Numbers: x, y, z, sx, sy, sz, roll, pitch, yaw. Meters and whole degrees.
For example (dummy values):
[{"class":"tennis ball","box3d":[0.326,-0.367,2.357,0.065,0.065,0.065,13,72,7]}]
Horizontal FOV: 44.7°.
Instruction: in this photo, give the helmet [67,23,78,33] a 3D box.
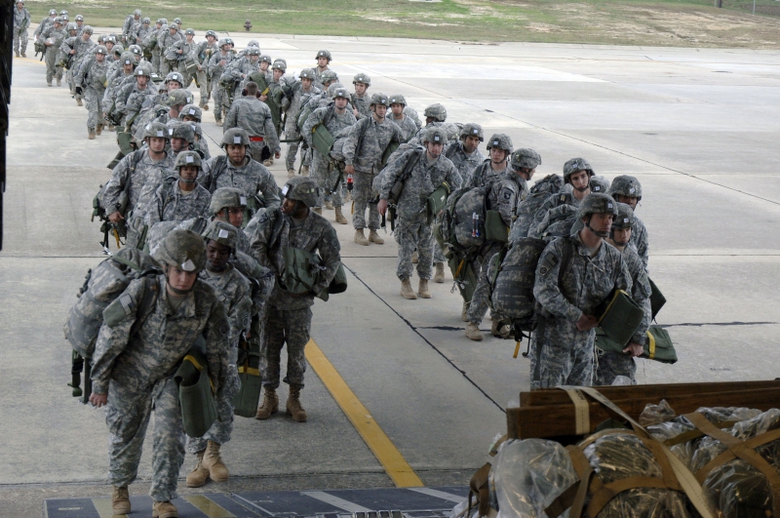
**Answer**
[{"class":"helmet","box3d":[-11.185,-8.144,33.513,0.407,0.365,0.453,-4,9,-36]}]

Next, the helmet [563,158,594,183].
[{"class":"helmet","box3d":[2.340,-1.136,11.783,0.372,0.251,0.356,-17,-2,0]}]

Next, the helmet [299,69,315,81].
[{"class":"helmet","box3d":[-1.829,-3.966,20.507,0.290,0.242,0.326,8,27,7]}]

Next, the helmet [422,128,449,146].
[{"class":"helmet","box3d":[0.644,-1.804,14.032,0.313,0.242,0.394,-11,19,-41]}]

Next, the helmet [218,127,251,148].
[{"class":"helmet","box3d":[-2.009,-1.576,12.247,0.320,0.160,0.290,1,-1,-11]}]

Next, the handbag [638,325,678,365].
[{"class":"handbag","box3d":[2.986,0.946,10.290,0.525,0.436,0.167,10,-33,-15]}]

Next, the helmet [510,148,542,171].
[{"class":"helmet","box3d":[1.862,-1.342,12.812,0.408,0.281,0.285,-12,27,-22]}]

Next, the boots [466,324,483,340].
[{"class":"boots","box3d":[1.157,0.975,12.864,0.253,0.197,0.316,2,14,-1]}]

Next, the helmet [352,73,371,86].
[{"class":"helmet","box3d":[-0.562,-3.476,18.408,0.394,0.202,0.355,3,9,-22]}]

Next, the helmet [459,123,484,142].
[{"class":"helmet","box3d":[1.249,-1.919,14.378,0.364,0.200,0.345,3,14,-8]}]

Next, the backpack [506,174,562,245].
[{"class":"backpack","box3d":[1.783,-0.653,11.861,0.509,0.756,0.872,12,17,32]}]

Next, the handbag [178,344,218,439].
[{"class":"handbag","box3d":[-1.776,1.180,8.661,0.278,0.594,0.835,-14,15,5]}]

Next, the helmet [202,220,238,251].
[{"class":"helmet","box3d":[-1.664,-0.230,9.208,0.341,0.229,0.242,24,0,10]}]

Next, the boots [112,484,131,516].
[{"class":"boots","box3d":[-2.505,2.215,8.808,0.162,0.261,0.262,-2,15,-14]}]

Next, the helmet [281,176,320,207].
[{"class":"helmet","box3d":[-0.990,-0.762,10.406,0.401,0.279,0.307,30,13,15]}]

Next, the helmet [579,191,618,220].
[{"class":"helmet","box3d":[2.134,-0.548,9.640,0.323,0.165,0.294,0,3,-23]}]

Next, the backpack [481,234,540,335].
[{"class":"backpack","box3d":[1.372,0.309,10.135,0.534,1.045,0.428,4,16,7]}]

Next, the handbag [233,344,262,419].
[{"class":"handbag","box3d":[-1.467,1.295,9.863,0.225,0.773,0.493,4,15,8]}]

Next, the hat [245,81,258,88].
[{"class":"hat","box3d":[-2.689,-3.350,18.238,0.309,0.105,0.323,0,6,-9]}]

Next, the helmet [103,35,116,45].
[{"class":"helmet","box3d":[-8.100,-6.319,27.400,0.306,0.300,0.360,2,-2,0]}]

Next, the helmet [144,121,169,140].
[{"class":"helmet","box3d":[-3.188,-1.734,12.882,0.319,0.196,0.288,-1,14,-12]}]

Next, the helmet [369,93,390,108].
[{"class":"helmet","box3d":[-0.184,-2.738,16.385,0.294,0.204,0.284,1,2,-5]}]

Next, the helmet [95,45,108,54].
[{"class":"helmet","box3d":[-7.601,-5.471,24.833,0.245,0.172,0.247,8,6,-9]}]

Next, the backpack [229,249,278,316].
[{"class":"backpack","box3d":[-1.414,0.231,9.989,0.336,0.669,0.612,8,16,20]}]

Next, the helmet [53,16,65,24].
[{"class":"helmet","box3d":[-11.743,-8.457,33.589,0.405,0.162,0.561,3,19,-30]}]

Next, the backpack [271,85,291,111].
[{"class":"backpack","box3d":[-2.383,-3.539,20.788,0.451,0.519,0.223,6,14,44]}]

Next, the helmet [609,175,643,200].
[{"class":"helmet","box3d":[2.816,-0.852,11.234,0.330,0.270,0.328,0,11,-27]}]

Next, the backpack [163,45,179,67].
[{"class":"backpack","box3d":[-7.083,-6.582,30.625,0.506,0.588,0.252,7,53,-9]}]

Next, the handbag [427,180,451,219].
[{"class":"handbag","box3d":[0.717,-0.871,13.909,0.203,0.456,0.394,27,37,15]}]

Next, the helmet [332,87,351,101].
[{"class":"helmet","box3d":[-0.936,-3.089,17.836,0.528,0.274,0.608,1,9,0]}]

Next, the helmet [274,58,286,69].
[{"class":"helmet","box3d":[-2.554,-4.420,21.737,0.287,0.237,0.322,6,31,-1]}]

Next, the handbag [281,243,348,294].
[{"class":"handbag","box3d":[-0.796,0.141,10.391,0.671,0.247,0.587,6,36,-24]}]

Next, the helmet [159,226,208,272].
[{"class":"helmet","box3d":[-1.863,-0.073,8.502,0.377,0.318,0.434,2,3,-28]}]

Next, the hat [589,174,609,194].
[{"class":"hat","box3d":[2.707,-0.954,12.251,0.273,0.234,0.329,5,21,11]}]

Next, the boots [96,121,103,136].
[{"class":"boots","box3d":[-7.739,-3.479,25.344,0.169,0.387,0.294,4,-5,-14]}]

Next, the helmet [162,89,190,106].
[{"class":"helmet","box3d":[-3.593,-2.726,15.875,0.364,0.222,0.480,-12,17,-28]}]

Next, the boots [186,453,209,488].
[{"class":"boots","box3d":[-1.907,2.095,9.414,0.216,0.274,0.269,5,15,12]}]

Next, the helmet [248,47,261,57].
[{"class":"helmet","box3d":[-3.471,-5.304,24.321,0.241,0.201,0.300,15,23,33]}]

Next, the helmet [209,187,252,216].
[{"class":"helmet","box3d":[-1.761,-0.631,10.368,0.379,0.224,0.328,1,6,5]}]

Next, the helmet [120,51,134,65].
[{"class":"helmet","box3d":[-6.117,-4.655,22.048,0.313,0.289,0.364,-1,29,-8]}]

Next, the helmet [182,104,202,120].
[{"class":"helmet","box3d":[-3.256,-2.421,15.598,0.325,0.226,0.326,10,-6,-7]}]

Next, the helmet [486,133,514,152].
[{"class":"helmet","box3d":[1.551,-1.623,13.343,0.322,0.215,0.292,5,13,11]}]
